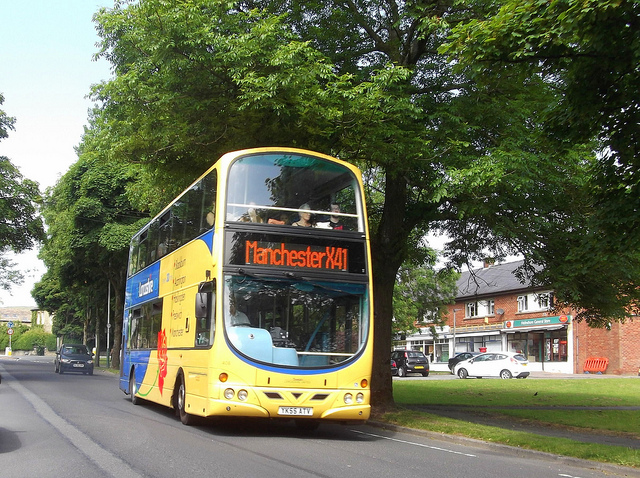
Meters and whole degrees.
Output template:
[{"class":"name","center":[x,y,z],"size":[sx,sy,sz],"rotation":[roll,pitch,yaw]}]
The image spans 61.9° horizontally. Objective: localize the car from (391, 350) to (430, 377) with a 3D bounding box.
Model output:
[{"class":"car","center":[7.354,9.963,42.674],"size":[1.676,1.438,2.929],"rotation":[1,0,-16]}]

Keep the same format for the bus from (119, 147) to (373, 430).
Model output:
[{"class":"bus","center":[-3.092,1.963,16.320],"size":[3.788,6.137,12.083],"rotation":[6,-12,-28]}]

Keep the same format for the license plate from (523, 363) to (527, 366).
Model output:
[{"class":"license plate","center":[15.557,9.530,40.686],"size":[0.210,0.219,0.163],"rotation":[2,-3,-3]}]

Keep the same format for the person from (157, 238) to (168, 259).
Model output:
[{"class":"person","center":[-4.481,0.309,15.188],"size":[0.425,0.557,0.766],"rotation":[3,-8,-14]}]

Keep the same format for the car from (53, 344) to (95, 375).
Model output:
[{"class":"car","center":[-17.358,8.551,38.041],"size":[1.873,2.042,3.414],"rotation":[10,-14,-38]}]

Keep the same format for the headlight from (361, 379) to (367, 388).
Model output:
[{"class":"headlight","center":[0.916,2.995,11.129],"size":[0.143,0.165,0.032],"rotation":[9,-12,-36]}]

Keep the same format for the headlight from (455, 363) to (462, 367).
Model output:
[{"class":"headlight","center":[11.104,10.111,42.967],"size":[0.493,0.132,0.526],"rotation":[-3,0,-23]}]

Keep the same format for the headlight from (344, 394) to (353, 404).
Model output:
[{"class":"headlight","center":[0.581,3.279,10.974],"size":[0.167,0.174,0.039],"rotation":[4,-8,-19]}]

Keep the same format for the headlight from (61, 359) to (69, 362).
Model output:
[{"class":"headlight","center":[-17.723,8.427,37.205],"size":[0.705,0.184,0.103],"rotation":[-4,-11,28]}]

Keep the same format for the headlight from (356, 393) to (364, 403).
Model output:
[{"class":"headlight","center":[0.815,3.289,11.064],"size":[0.152,0.190,0.038],"rotation":[7,-11,-30]}]
